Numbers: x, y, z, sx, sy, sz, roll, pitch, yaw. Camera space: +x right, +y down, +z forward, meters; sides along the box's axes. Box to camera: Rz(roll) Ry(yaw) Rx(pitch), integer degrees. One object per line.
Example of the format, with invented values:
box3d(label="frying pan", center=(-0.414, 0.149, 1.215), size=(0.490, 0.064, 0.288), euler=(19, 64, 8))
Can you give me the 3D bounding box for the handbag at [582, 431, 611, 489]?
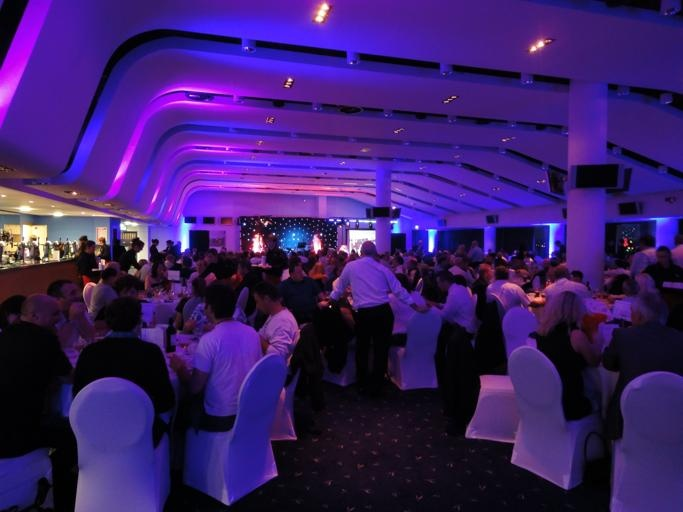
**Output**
box3d(label="handbag", center=(2.423, 1.947, 5.066), size=(0.294, 0.522, 0.119), euler=(-2, 1, 6))
